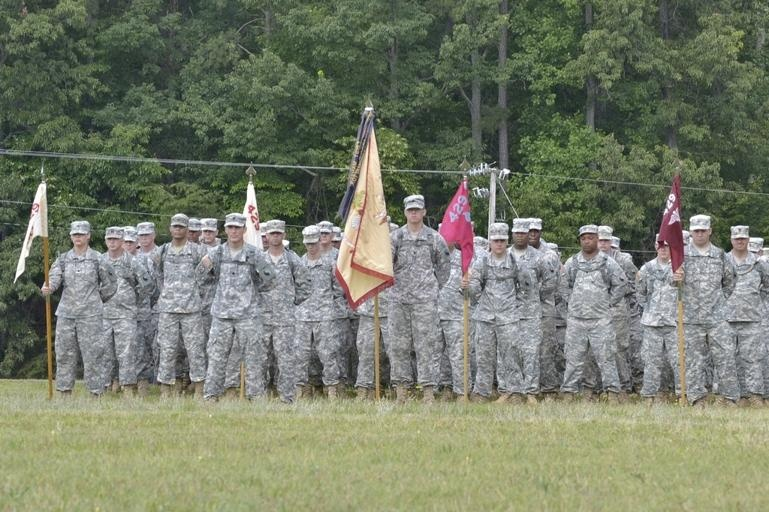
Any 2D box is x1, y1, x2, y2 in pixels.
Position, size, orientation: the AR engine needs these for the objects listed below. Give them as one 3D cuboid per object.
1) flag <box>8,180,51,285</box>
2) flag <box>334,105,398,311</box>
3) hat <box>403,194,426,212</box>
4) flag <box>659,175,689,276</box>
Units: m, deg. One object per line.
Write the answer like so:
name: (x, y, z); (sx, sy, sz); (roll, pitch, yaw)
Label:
flag: (-11.652, -1.243, 74.455); (1.437, 3.949, 1.369); (4, -2, 26)
flag: (-0.611, -1.750, 71.828); (1.789, 6.435, 0.829); (-1, -1, 1)
hat: (0.999, -1.873, 71.633); (0.603, 0.481, 0.372); (-1, -1, 7)
flag: (9.432, -1.192, 72.210); (1.001, 2.844, 0.723); (0, -1, -21)
